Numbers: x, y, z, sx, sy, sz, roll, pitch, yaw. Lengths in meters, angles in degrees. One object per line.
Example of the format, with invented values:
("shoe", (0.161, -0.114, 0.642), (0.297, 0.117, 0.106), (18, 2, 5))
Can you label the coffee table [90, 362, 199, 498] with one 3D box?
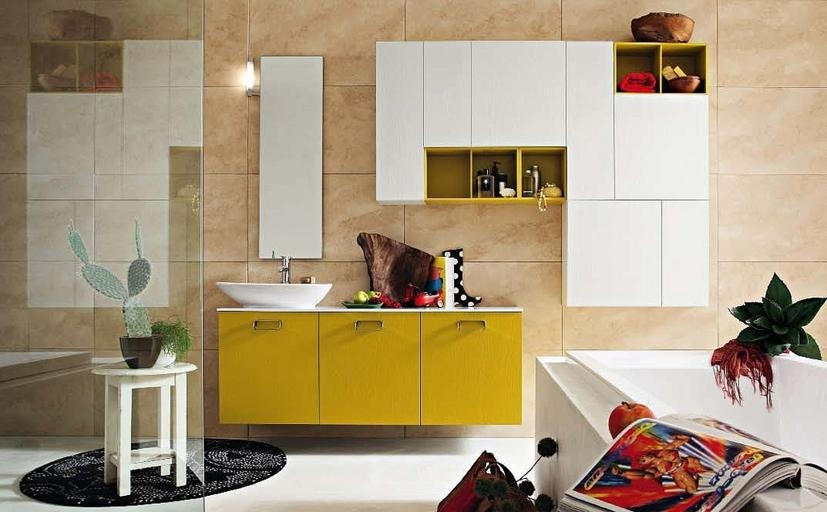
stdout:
("coffee table", (-1.218, 0.772, 3.966), (0.511, 0.584, 0.514), (2, -5, -39))

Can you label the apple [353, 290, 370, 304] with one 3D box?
("apple", (-0.318, 0.261, 5.390), (0.075, 0.100, 0.075), (0, -6, 3))

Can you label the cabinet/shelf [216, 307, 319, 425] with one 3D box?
("cabinet/shelf", (-0.843, 0.679, 5.520), (0.720, 0.807, 0.639), (0, -4, -4))

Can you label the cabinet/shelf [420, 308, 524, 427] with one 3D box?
("cabinet/shelf", (0.371, 0.675, 5.500), (0.858, 0.951, 0.605), (0, -5, -1))

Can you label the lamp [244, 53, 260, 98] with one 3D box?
("lamp", (-1.058, -1.171, 5.630), (0.088, 0.248, 0.085), (-2, 13, -11))

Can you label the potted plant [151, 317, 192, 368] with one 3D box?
("potted plant", (-1.117, 0.403, 3.986), (0.182, 0.210, 0.210), (0, -1, 5))
